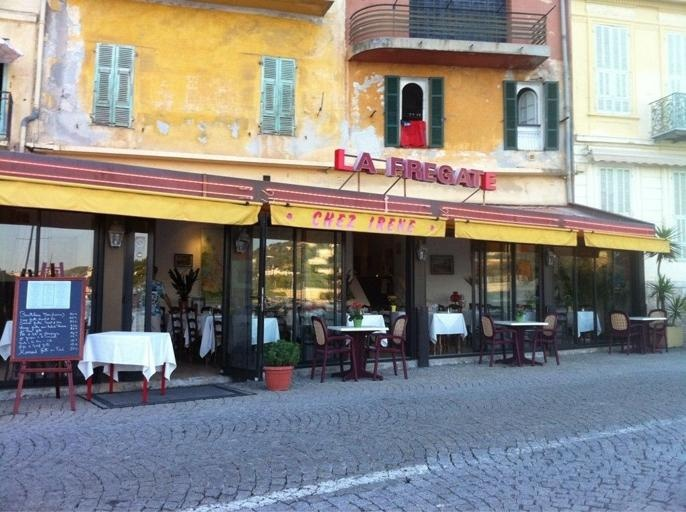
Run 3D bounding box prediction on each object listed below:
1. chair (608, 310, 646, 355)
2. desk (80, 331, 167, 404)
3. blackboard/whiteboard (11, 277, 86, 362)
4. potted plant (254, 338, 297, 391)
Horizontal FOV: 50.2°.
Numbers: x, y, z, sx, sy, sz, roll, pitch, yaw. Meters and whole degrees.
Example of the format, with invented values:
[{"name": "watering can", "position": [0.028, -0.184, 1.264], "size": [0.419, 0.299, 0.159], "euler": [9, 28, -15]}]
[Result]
[{"name": "chair", "position": [6.866, 1.856, 17.739], "size": [0.750, 1.111, 1.281], "euler": [2, 6, 20]}, {"name": "desk", "position": [-3.470, 1.758, 12.054], "size": [1.118, 1.282, 1.141], "euler": [-2, -5, 28]}, {"name": "blackboard/whiteboard", "position": [-4.550, 0.998, 11.251], "size": [1.195, 1.642, 0.082], "euler": [2, -9, -18]}, {"name": "potted plant", "position": [-1.059, 1.933, 12.925], "size": [0.808, 0.893, 0.772], "euler": [15, -21, -40]}]
